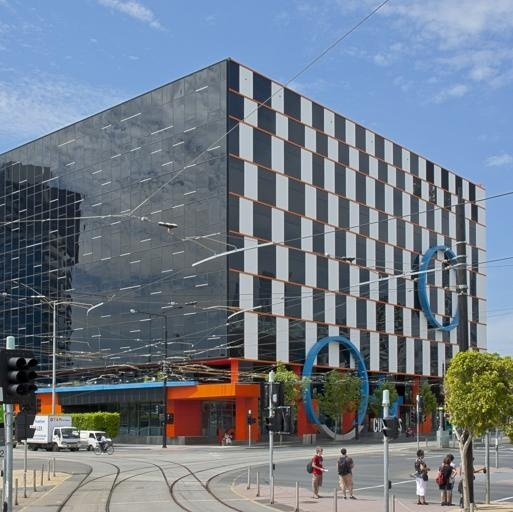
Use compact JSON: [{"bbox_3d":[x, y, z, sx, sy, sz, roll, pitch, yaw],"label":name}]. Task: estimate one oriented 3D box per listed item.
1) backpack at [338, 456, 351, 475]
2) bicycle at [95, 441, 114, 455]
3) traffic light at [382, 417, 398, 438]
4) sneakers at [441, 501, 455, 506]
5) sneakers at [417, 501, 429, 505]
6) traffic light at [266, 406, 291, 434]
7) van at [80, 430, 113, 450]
[{"bbox_3d":[3.645,8.634,37.809,0.489,0.778,0.604,-4,-14,5],"label":"backpack"},{"bbox_3d":[-9.965,12.809,61.135,1.360,0.611,0.612,-1,-17,19],"label":"bicycle"},{"bbox_3d":[4.720,5.915,31.755,0.790,0.654,0.297,1,-1,26],"label":"traffic light"},{"bbox_3d":[7.362,9.626,35.772,0.404,0.118,0.125,1,-3,-30],"label":"sneakers"},{"bbox_3d":[6.499,9.644,35.938,0.390,0.108,0.125,1,-2,-19],"label":"sneakers"},{"bbox_3d":[0.838,6.261,35.342,1.010,0.989,0.571,-6,-14,15],"label":"traffic light"},{"bbox_3d":[-11.552,12.998,64.885,2.815,1.068,1.720,-11,-14,40],"label":"van"}]
